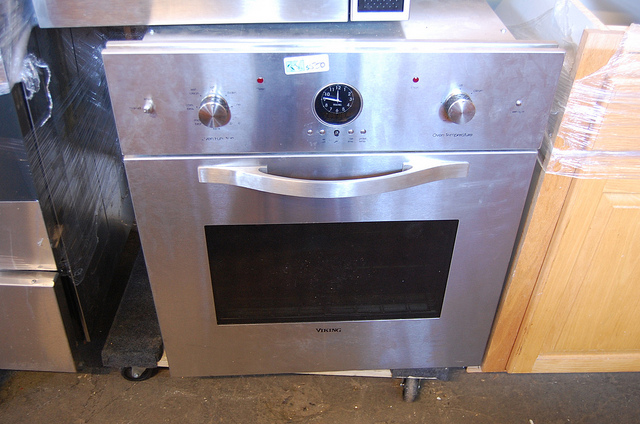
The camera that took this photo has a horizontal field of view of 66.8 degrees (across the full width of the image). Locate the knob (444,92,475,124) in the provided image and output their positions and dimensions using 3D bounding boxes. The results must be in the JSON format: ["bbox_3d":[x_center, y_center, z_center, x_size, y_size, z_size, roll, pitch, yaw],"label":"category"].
[{"bbox_3d":[0.329,-0.247,1.141,0.074,0.067,0.065,4,26,2],"label":"knob"}]

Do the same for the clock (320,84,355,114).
[{"bbox_3d":[0.038,-0.270,1.140,0.074,0.065,0.011,-3,31,0],"label":"clock"}]

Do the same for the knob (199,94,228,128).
[{"bbox_3d":[-0.250,-0.232,1.146,0.072,0.064,0.037,2,32,7],"label":"knob"}]

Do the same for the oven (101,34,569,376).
[{"bbox_3d":[0.013,-0.024,1.658,1.340,1.220,0.871,0,43,0],"label":"oven"}]
